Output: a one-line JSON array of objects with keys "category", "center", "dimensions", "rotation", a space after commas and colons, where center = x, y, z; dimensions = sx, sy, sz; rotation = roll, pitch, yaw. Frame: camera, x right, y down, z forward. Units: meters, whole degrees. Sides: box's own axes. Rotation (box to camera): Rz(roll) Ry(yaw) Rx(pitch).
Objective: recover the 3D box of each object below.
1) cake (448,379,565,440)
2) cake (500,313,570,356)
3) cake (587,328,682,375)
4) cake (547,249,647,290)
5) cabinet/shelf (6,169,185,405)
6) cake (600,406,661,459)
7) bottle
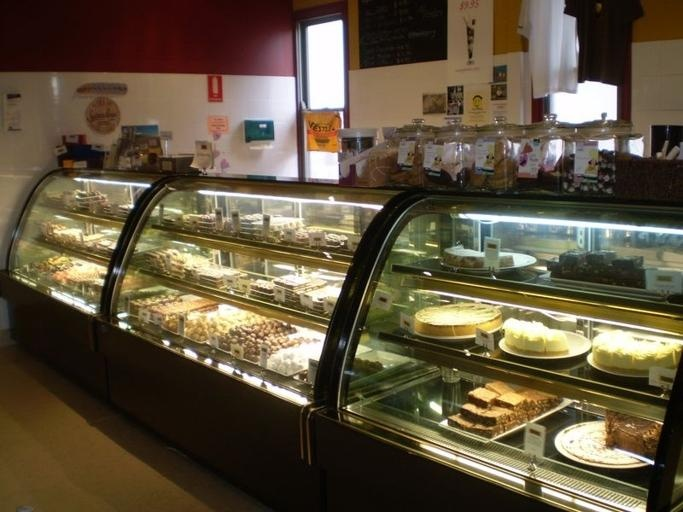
[{"category": "cake", "center": [0.607, 0.591, 2.011], "dimensions": [0.318, 0.084, 0.207], "rotation": [-13, 14, -34]}, {"category": "cake", "center": [0.724, 0.252, 1.944], "dimensions": [0.213, 0.067, 0.125], "rotation": [10, 17, 44]}, {"category": "cake", "center": [0.990, 0.319, 1.771], "dimensions": [0.166, 0.054, 0.158], "rotation": [-1, 8, 1]}, {"category": "cake", "center": [0.902, 0.039, 1.859], "dimensions": [0.322, 0.120, 0.038], "rotation": [10, 14, 42]}, {"category": "cabinet/shelf", "center": [-1.686, 0.239, 3.637], "dimensions": [1.592, 1.290, 0.940], "rotation": [10, 13, 38]}, {"category": "cake", "center": [0.955, 0.593, 1.736], "dimensions": [0.207, 0.131, 0.112], "rotation": [14, 52, 39]}, {"category": "bottle", "center": [0.594, -0.459, 2.344], "dimensions": [1.265, 0.321, 0.285], "rotation": [8, 13, 38]}]
